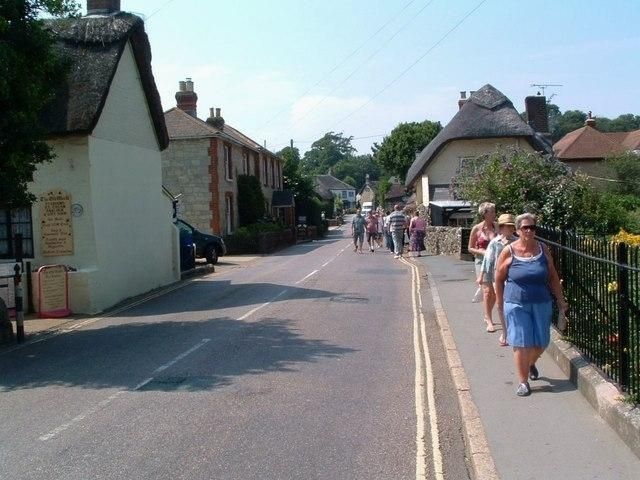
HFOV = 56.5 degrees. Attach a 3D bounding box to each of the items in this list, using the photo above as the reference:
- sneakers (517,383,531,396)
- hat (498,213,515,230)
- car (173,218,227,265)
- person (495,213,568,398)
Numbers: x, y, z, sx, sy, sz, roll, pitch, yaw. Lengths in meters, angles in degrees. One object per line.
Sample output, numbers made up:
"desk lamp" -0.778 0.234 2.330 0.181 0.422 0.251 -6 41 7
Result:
"sneakers" 2.486 1.803 7.262 0.173 0.151 0.222 0 5 17
"hat" 2.794 -0.277 8.972 0.200 0.132 0.232 -2 2 -3
"car" -5.014 0.202 24.881 2.090 1.157 1.137 -1 4 -7
"person" 2.672 0.754 7.548 0.813 2.178 1.007 -1 5 9
